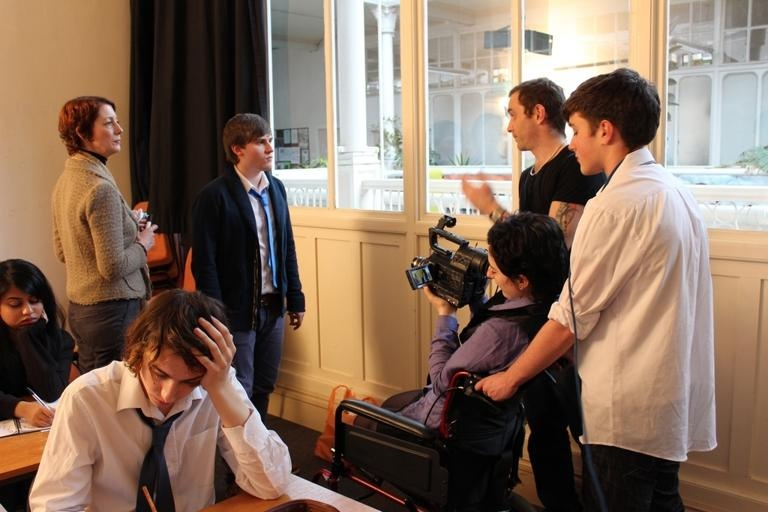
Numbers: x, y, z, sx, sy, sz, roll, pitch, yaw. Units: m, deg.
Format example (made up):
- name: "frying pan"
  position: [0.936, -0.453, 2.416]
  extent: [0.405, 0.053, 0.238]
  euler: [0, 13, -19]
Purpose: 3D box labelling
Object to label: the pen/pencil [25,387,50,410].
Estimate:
- name: "pen/pencil"
  position: [-1.483, 0.613, 2.585]
  extent: [0.153, 0.016, 0.016]
  euler: [49, 2, 28]
